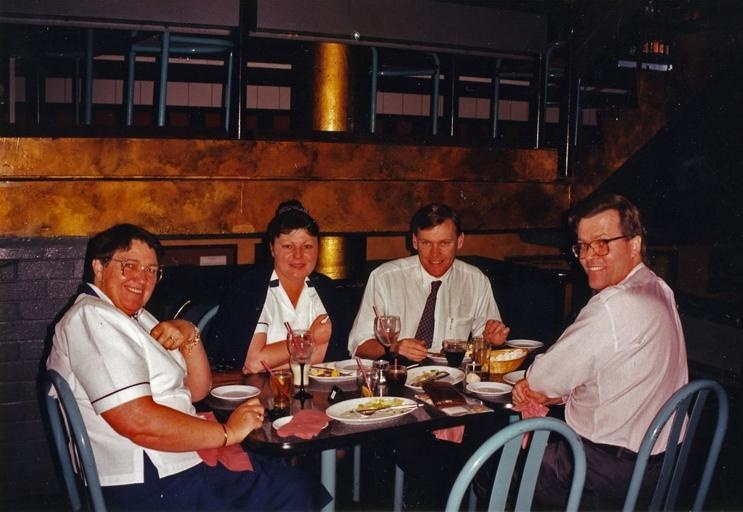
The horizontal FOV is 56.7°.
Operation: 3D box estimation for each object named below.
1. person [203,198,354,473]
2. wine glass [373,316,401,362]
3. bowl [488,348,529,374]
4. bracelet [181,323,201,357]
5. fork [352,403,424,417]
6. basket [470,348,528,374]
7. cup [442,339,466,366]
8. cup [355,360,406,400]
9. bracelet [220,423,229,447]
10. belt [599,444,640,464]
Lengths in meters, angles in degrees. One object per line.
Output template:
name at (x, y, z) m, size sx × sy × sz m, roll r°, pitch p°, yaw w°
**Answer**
person at (-0.517, 0.585, 4.077) m, size 0.835 × 1.640 × 0.880 m, roll 1°, pitch 2°, yaw 45°
wine glass at (0.086, 0.432, 3.770) m, size 0.125 × 0.243 × 0.232 m, roll 3°, pitch 2°, yaw 6°
bowl at (0.708, 0.547, 3.645) m, size 0.155 × 0.050 × 0.139 m, roll -11°, pitch 12°, yaw 20°
bracelet at (-0.877, 0.405, 3.398) m, size 0.046 × 0.128 × 0.098 m, roll 25°, pitch -9°, yaw 13°
fork at (0.062, 0.698, 3.164) m, size 0.294 × 0.041 × 0.088 m, roll 2°, pitch 2°, yaw -4°
basket at (0.689, 0.521, 3.651) m, size 0.182 × 0.063 × 0.163 m, roll -10°, pitch 10°, yaw -2°
cup at (0.426, 0.496, 3.670) m, size 0.135 × 0.141 × 0.125 m, roll 0°, pitch 6°, yaw 0°
cup at (0.043, 0.593, 3.403) m, size 0.204 × 0.138 × 0.140 m, roll 0°, pitch 4°, yaw -10°
bracelet at (-0.642, 0.772, 3.014) m, size 0.029 × 0.087 × 0.060 m, roll 1°, pitch 3°, yaw -36°
belt at (1.149, 0.910, 3.211) m, size 0.105 × 0.037 × 0.077 m, roll 11°, pitch -1°, yaw -3°
